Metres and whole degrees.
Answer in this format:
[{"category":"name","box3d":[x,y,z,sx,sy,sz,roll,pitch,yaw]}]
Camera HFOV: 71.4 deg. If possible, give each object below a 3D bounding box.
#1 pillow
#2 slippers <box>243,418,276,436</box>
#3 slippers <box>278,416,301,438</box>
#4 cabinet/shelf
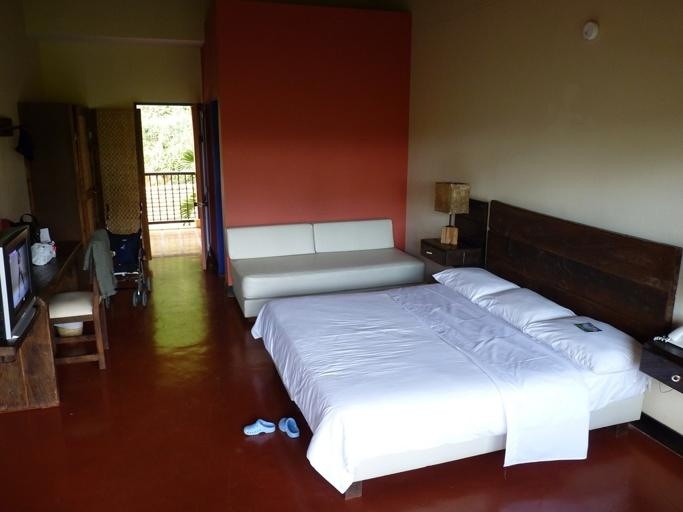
[{"category":"pillow","box3d":[1.623,0.501,4.033,0.493,0.429,1.714,-8,12,-26]},{"category":"slippers","box3d":[-0.630,1.304,3.692,0.255,0.119,0.104,0,21,-14]},{"category":"slippers","box3d":[-0.407,1.318,3.665,0.164,0.098,0.180,-4,11,-7]},{"category":"cabinet/shelf","box3d":[-3.610,-1.035,6.044,0.564,1.879,1.841,0,11,-12]}]
